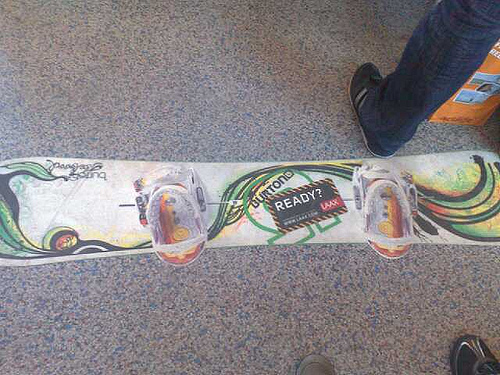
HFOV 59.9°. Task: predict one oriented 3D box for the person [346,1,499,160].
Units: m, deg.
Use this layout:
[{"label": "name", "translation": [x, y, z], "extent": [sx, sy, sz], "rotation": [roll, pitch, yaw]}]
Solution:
[{"label": "person", "translation": [0.700, -0.509, 2.023], "extent": [0.494, 0.807, 0.501], "rotation": [30, 73, 9]}]
